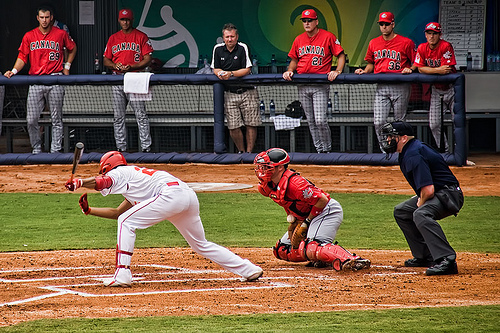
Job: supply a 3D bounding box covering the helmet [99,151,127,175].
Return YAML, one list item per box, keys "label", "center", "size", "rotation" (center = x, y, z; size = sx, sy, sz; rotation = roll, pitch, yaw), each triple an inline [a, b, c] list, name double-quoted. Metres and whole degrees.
- label: "helmet"
  center: [-1.901, -0.039, 11.838]
  size: [0.352, 0.318, 0.277]
  rotation: [1, -2, 14]

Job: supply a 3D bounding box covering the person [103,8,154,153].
- label: "person"
  center: [-2.454, -1.700, 17.482]
  size: [0.930, 2.248, 0.640]
  rotation: [-3, 2, -10]

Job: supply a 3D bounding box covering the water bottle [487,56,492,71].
- label: "water bottle"
  center: [5.496, -2.358, 19.863]
  size: [0.108, 0.325, 0.057]
  rotation: [-3, 2, 9]

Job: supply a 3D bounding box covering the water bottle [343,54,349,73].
- label: "water bottle"
  center: [2.206, -2.361, 19.874]
  size: [0.118, 0.437, 0.320]
  rotation: [-3, 1, 6]

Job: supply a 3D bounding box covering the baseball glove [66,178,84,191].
- label: "baseball glove"
  center: [-2.320, 0.245, 11.469]
  size: [0.203, 0.088, 0.145]
  rotation: [-12, -35, -3]

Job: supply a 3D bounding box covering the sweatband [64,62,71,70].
- label: "sweatband"
  center: [-3.654, -2.012, 17.273]
  size: [0.114, 0.116, 0.120]
  rotation: [2, 6, 8]

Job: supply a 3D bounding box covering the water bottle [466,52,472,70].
- label: "water bottle"
  center: [5.032, -2.420, 19.909]
  size: [0.132, 0.410, 0.199]
  rotation: [-3, 2, 13]

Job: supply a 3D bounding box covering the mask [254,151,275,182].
- label: "mask"
  center: [0.224, 0.003, 11.987]
  size: [0.427, 0.415, 0.382]
  rotation: [-3, 7, -14]

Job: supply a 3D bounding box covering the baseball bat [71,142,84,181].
- label: "baseball bat"
  center: [-2.903, -0.043, 14.528]
  size: [0.160, 0.723, 0.101]
  rotation: [15, 19, -13]

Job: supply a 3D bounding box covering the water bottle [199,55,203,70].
- label: "water bottle"
  center: [-1.150, -2.422, 20.074]
  size: [0.095, 0.233, 0.211]
  rotation: [-3, 2, -3]

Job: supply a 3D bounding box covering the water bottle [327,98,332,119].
- label: "water bottle"
  center: [1.692, -1.251, 18.444]
  size: [0.082, 0.267, 0.307]
  rotation: [-3, 1, 3]

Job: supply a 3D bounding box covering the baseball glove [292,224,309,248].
- label: "baseball glove"
  center: [0.698, 0.978, 12.119]
  size: [0.176, 0.306, 0.106]
  rotation: [15, 6, 32]

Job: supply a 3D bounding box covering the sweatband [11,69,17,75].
- label: "sweatband"
  center: [-4.776, -1.917, 17.475]
  size: [0.084, 0.055, 0.082]
  rotation: [0, 0, -41]

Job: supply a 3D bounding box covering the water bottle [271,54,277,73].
- label: "water bottle"
  center: [0.550, -2.360, 19.887]
  size: [0.128, 0.301, 0.379]
  rotation: [-3, 1, 1]

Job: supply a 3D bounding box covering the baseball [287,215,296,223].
- label: "baseball"
  center: [0.566, 0.738, 12.116]
  size: [0.088, 0.104, 0.094]
  rotation: [-1, 2, 17]

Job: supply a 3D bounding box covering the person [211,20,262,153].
- label: "person"
  center: [-0.256, -1.522, 17.355]
  size: [0.994, 1.825, 1.043]
  rotation: [-4, 2, -34]

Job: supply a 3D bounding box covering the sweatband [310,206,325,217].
- label: "sweatband"
  center: [0.912, 0.618, 11.914]
  size: [0.132, 0.124, 0.119]
  rotation: [11, 31, 4]

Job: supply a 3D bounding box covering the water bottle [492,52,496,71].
- label: "water bottle"
  center: [5.589, -2.385, 19.845]
  size: [0.086, 0.407, 0.056]
  rotation: [-3, 2, -4]
